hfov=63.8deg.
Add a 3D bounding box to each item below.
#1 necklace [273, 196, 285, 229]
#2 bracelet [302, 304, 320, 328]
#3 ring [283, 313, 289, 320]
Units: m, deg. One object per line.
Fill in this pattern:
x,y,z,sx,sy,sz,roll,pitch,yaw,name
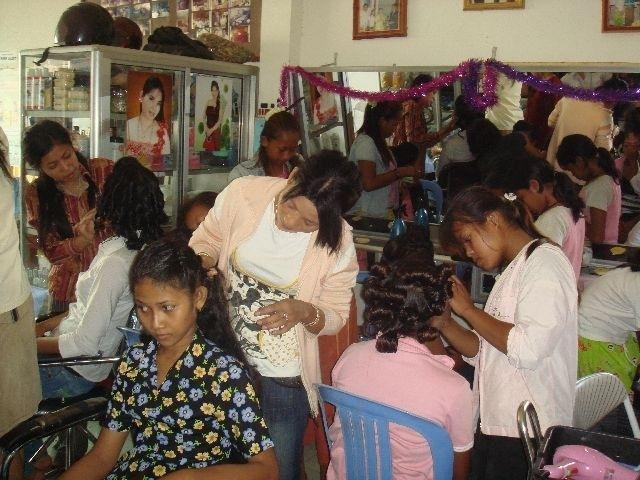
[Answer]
-0.141,-0.100,1.889,0.069,0.104,0.059,1,-1,-1,necklace
-0.030,0.283,1.872,0.059,0.072,0.027,-3,-12,-25,bracelet
-0.120,0.268,1.772,0.018,0.018,0.005,-19,5,-27,ring
